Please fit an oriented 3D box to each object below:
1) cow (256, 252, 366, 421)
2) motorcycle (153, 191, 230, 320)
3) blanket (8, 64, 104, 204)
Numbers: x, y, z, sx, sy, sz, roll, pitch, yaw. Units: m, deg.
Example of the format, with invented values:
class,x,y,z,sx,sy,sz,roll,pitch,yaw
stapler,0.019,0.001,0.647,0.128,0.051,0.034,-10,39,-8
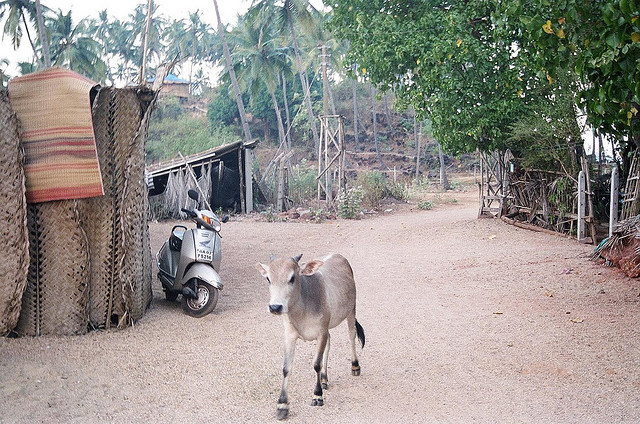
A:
class,x,y,z,sx,sy,sz,roll,pitch,yaw
cow,-0.070,1.526,7.522,0.691,2.014,1.694,8,16,37
motorcycle,-2.346,0.861,10.084,0.997,1.900,1.620,-10,15,-31
blanket,-4.280,-1.275,8.906,1.177,2.082,0.980,-8,14,-24
